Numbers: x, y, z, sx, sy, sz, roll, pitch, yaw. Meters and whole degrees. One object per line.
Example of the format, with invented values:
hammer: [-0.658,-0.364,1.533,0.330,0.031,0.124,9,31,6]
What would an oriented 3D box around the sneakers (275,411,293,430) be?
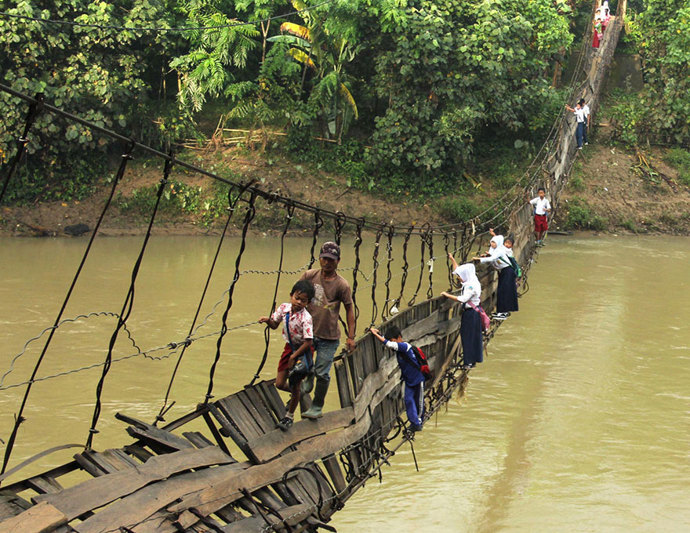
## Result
sneakers: [-0.812,2.064,15.307,0.130,0.141,0.325,3,4,8]

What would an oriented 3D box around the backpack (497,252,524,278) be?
backpack: [2.884,0.018,20.079,0.135,0.413,0.325,-12,21,24]

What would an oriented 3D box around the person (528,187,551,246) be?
person: [3.735,-0.979,22.239,0.404,1.112,0.894,10,7,10]

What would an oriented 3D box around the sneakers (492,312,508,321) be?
sneakers: [2.692,0.859,20.005,0.300,0.121,0.106,7,11,1]

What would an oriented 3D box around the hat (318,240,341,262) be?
hat: [-0.207,-0.222,15.916,0.263,0.256,0.404,8,7,-4]

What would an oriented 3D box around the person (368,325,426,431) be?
person: [0.853,1.625,16.844,1.129,1.518,0.399,2,10,-41]

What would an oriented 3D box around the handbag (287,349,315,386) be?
handbag: [-0.592,1.363,15.565,0.189,0.436,0.358,34,7,24]

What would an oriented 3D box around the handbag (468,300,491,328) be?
handbag: [2.149,0.759,18.684,0.389,0.357,0.242,40,8,-16]

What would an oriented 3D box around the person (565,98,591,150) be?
person: [5.120,-3.205,25.455,0.500,1.088,1.346,11,7,14]

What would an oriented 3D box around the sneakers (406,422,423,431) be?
sneakers: [1.043,2.368,17.045,0.168,0.079,0.215,-2,-7,26]
